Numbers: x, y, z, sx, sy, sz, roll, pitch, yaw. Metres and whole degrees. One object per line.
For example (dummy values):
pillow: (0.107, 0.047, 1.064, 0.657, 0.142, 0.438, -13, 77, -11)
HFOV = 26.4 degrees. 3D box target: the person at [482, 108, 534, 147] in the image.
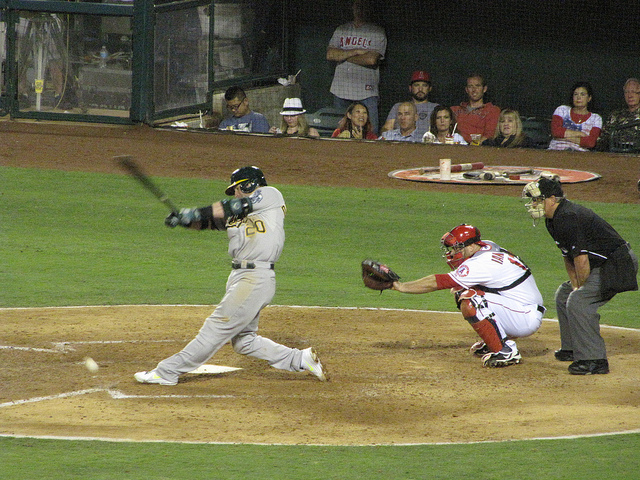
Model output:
person: (3.114, -1.758, 22.106, 1.007, 0.628, 0.597, 1, -1, 44)

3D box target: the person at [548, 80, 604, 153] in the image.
person: (4.191, -1.887, 22.145, 0.980, 1.212, 0.861, 12, 26, 26)

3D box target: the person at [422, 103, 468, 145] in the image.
person: (2.026, -1.839, 22.201, 1.041, 0.643, 0.466, -1, 0, 5)

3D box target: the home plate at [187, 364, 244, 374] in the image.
home plate: (-1.143, 1.433, 15.155, 0.461, 0.067, 0.333, 3, 5, 16)

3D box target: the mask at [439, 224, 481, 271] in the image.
mask: (1.669, 0.064, 15.415, 0.641, 0.410, 0.442, -9, 2, 10)

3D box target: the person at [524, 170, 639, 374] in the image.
person: (2.893, 0.382, 15.200, 1.275, 2.144, 0.678, 3, 7, 6)

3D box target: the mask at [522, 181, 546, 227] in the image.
mask: (2.376, -0.391, 15.158, 0.268, 0.483, 0.448, 3, 7, 8)

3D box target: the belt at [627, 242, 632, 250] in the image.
belt: (3.565, 0.075, 15.745, 0.026, 0.068, 0.084, -23, -31, 17)

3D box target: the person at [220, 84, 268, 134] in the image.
person: (-1.239, -2.092, 22.254, 0.784, 0.726, 1.060, 1, 6, -4)

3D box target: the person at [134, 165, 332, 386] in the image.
person: (-0.876, 0.412, 14.610, 1.812, 2.350, 0.415, 1, 8, -5)

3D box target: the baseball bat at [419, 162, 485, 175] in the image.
baseball bat: (2.087, -1.090, 21.249, 1.247, 0.140, 0.146, -4, 27, 0)

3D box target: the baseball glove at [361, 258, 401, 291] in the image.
baseball glove: (0.584, 0.378, 15.442, 0.453, 0.138, 0.331, 19, -13, 41)

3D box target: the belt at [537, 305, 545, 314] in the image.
belt: (2.507, 0.792, 15.414, 0.072, 0.056, 0.083, 22, 8, 10)
